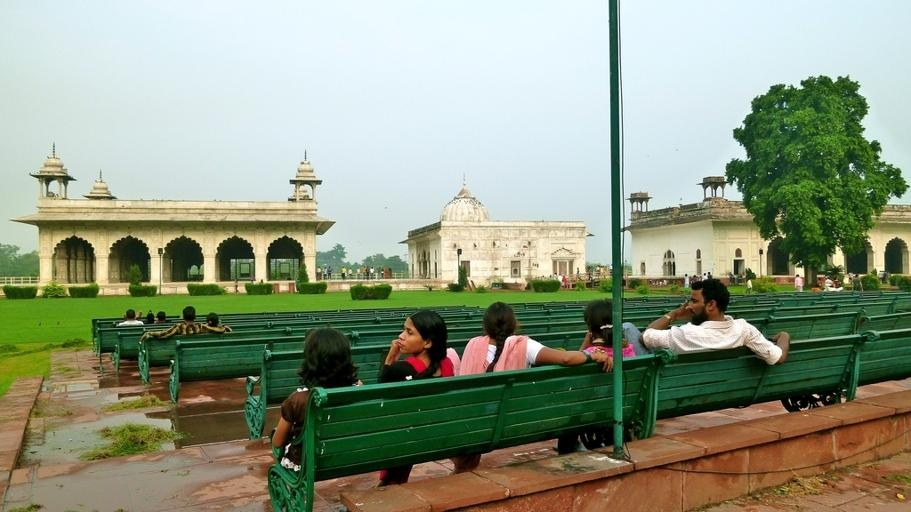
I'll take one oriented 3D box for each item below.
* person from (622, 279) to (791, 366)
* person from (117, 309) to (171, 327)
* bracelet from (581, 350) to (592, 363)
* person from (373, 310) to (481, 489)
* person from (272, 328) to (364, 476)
[{"bbox_3d":[3.160,0.812,9.963,2.137,0.806,1.037,2,-3,17],"label":"person"},{"bbox_3d":[-7.032,1.387,17.690,1.299,0.218,0.287,-1,16,14],"label":"person"},{"bbox_3d":[1.546,1.174,9.173,0.117,0.078,0.118,-1,5,6],"label":"bracelet"},{"bbox_3d":[-0.337,1.637,9.225,1.144,2.012,0.921,2,14,-11],"label":"person"},{"bbox_3d":[-1.575,1.583,8.853,0.875,1.519,0.597,-4,16,-32],"label":"person"}]
